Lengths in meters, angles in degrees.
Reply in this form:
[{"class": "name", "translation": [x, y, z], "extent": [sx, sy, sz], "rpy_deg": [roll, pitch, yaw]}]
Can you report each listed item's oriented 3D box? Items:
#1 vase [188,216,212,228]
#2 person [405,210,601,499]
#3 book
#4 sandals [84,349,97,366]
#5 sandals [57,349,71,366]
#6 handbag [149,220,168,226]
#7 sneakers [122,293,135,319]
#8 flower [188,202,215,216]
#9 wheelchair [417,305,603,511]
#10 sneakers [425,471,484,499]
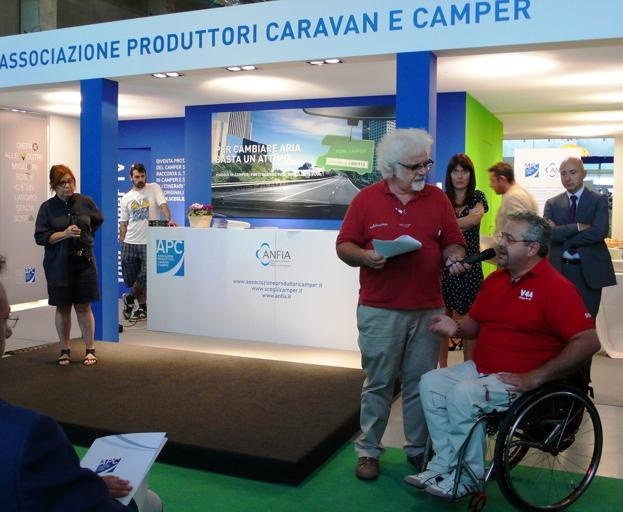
[{"class": "vase", "translation": [-1.407, -0.408, 6.191], "extent": [0.187, 0.096, 0.193], "rpy_deg": [0, 1, 31]}, {"class": "person", "translation": [1.100, 0.514, 3.167], "extent": [1.168, 2.151, 1.198], "rpy_deg": [3, -3, -4]}, {"class": "book", "translation": [-0.638, 0.700, 1.747], "extent": [0.235, 0.066, 0.260], "rpy_deg": [-10, 30, 28]}, {"class": "sandals", "translation": [-2.012, 0.928, 4.484], "extent": [0.068, 0.083, 0.203], "rpy_deg": [0, -6, -16]}, {"class": "sandals", "translation": [-2.247, 0.918, 4.465], "extent": [0.075, 0.099, 0.224], "rpy_deg": [3, -7, -25]}, {"class": "handbag", "translation": [-1.920, -0.403, 6.152], "extent": [0.240, 0.069, 0.242], "rpy_deg": [2, 5, -7]}, {"class": "sneakers", "translation": [-2.635, 0.723, 7.093], "extent": [0.192, 0.456, 0.148], "rpy_deg": [5, 5, 19]}, {"class": "flower", "translation": [-1.413, -0.587, 6.275], "extent": [0.300, 0.139, 0.286], "rpy_deg": [1, 5, -22]}, {"class": "wheelchair", "translation": [0.854, 0.718, 2.481], "extent": [0.923, 1.153, 0.596], "rpy_deg": [5, -8, -17]}, {"class": "sneakers", "translation": [0.651, 1.030, 2.232], "extent": [0.226, 0.112, 0.115], "rpy_deg": [1, -4, 0]}]
